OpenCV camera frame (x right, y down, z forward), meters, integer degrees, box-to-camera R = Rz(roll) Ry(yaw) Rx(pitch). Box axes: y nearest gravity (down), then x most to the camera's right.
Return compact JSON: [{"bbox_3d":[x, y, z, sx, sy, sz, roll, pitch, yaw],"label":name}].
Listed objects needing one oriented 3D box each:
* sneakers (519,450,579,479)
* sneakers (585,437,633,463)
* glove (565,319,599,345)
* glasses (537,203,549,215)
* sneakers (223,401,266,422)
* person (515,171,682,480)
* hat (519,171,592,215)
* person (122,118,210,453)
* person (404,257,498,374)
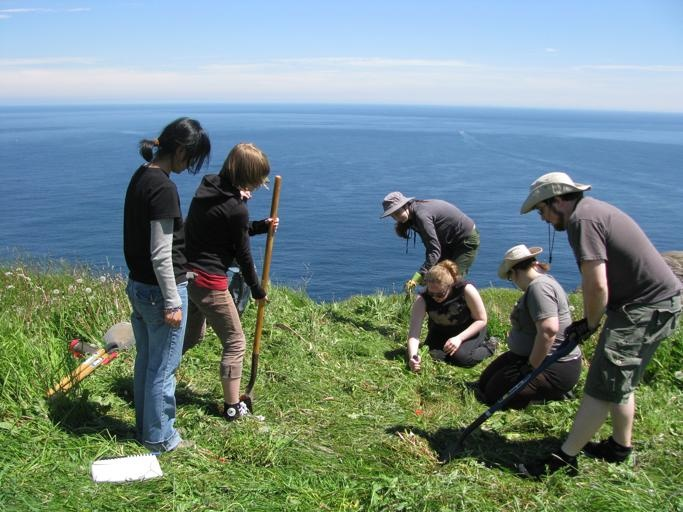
[{"bbox_3d":[2.055,2.047,6.396,0.707,0.279,0.239,1,-6,15],"label":"sneakers"},{"bbox_3d":[2.681,1.944,6.527,0.482,0.195,0.195,9,17,39],"label":"sneakers"},{"bbox_3d":[2.380,0.749,6.446,0.106,0.294,0.219,43,13,-37],"label":"glove"},{"bbox_3d":[2.067,-0.487,6.639,0.037,0.108,0.107,11,-9,-26],"label":"glasses"},{"bbox_3d":[-1.050,1.717,7.302,0.183,0.220,0.553,1,3,45],"label":"sneakers"},{"bbox_3d":[2.556,0.707,6.380,1.399,2.857,0.996,10,16,19],"label":"person"},{"bbox_3d":[2.131,-0.735,6.598,0.648,0.236,0.489,-22,-3,20],"label":"hat"},{"bbox_3d":[-1.760,0.285,6.375,0.736,3.227,0.802,0,16,-18],"label":"person"},{"bbox_3d":[1.360,0.825,8.950,1.673,1.460,0.962,-9,7,-31],"label":"person"}]
